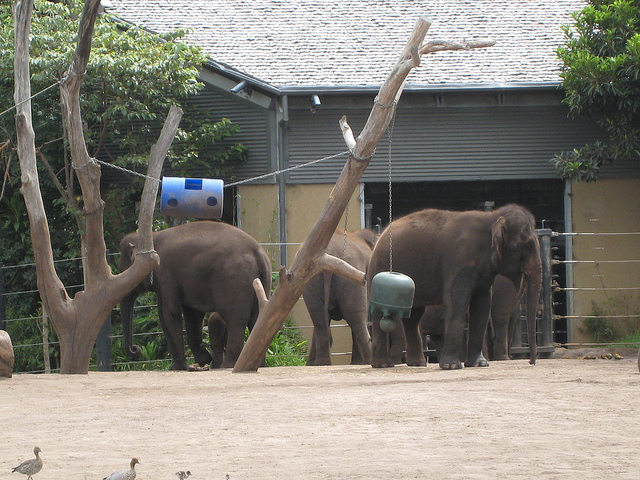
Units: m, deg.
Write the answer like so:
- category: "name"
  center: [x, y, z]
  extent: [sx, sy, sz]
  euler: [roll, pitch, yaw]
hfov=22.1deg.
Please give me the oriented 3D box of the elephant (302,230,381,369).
- category: "elephant"
  center: [0.473, 0.827, 28.134]
  extent: [1.369, 2.477, 3.706]
  euler: [0, -1, 9]

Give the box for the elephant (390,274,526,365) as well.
- category: "elephant"
  center: [2.147, 1.340, 26.791]
  extent: [2.457, 1.906, 1.109]
  euler: [0, -1, -8]

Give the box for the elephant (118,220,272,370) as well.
- category: "elephant"
  center: [-2.099, 0.862, 26.107]
  extent: [2.618, 2.380, 1.152]
  euler: [-3, 2, 24]

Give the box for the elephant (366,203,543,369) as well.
- category: "elephant"
  center: [2.028, 0.701, 24.910]
  extent: [2.540, 2.463, 1.739]
  euler: [1, -6, 2]
